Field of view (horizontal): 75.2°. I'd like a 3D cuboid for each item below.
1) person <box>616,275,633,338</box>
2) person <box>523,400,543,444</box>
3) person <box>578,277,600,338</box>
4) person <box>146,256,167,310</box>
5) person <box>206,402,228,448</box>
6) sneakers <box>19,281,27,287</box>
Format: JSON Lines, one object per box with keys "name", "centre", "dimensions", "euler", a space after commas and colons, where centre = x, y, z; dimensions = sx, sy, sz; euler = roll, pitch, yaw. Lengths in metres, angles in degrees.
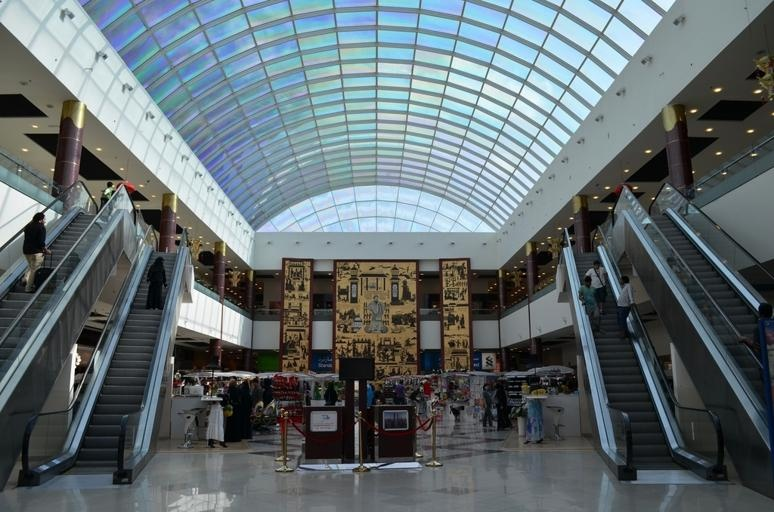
{"name": "person", "centre": [7.703, 1.623, 16.266], "dimensions": [0.526, 1.862, 0.926], "euler": [-9, -22, 20]}
{"name": "person", "centre": [5.211, 5.803, 17.681], "dimensions": [0.648, 1.457, 0.864], "euler": [-3, -21, 6]}
{"name": "person", "centre": [6.995, 1.678, 17.312], "dimensions": [0.526, 2.141, 0.708], "euler": [-1, -21, -1]}
{"name": "person", "centre": [-8.430, 0.979, 18.366], "dimensions": [0.614, 2.003, 0.428], "euler": [9, -23, -25]}
{"name": "person", "centre": [-5.829, 5.776, 17.233], "dimensions": [0.569, 1.474, 0.531], "euler": [13, -25, -31]}
{"name": "sneakers", "centre": [-10.053, 0.786, 13.870], "dimensions": [0.190, 0.190, 0.108], "euler": [2, -15, -25]}
